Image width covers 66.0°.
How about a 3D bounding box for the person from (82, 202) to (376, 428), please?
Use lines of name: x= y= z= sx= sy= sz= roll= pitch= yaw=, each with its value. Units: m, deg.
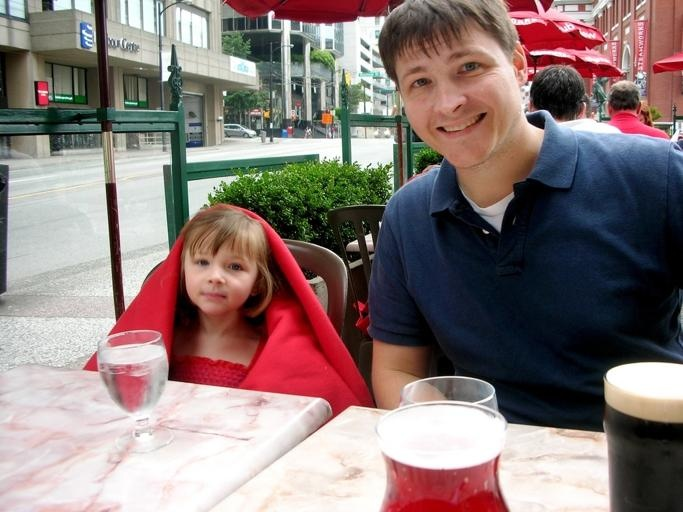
person: x=-0.319 y=0.211 z=2.207 sx=1.355 sy=0.822 sz=0.702 roll=4 pitch=-17 yaw=7
